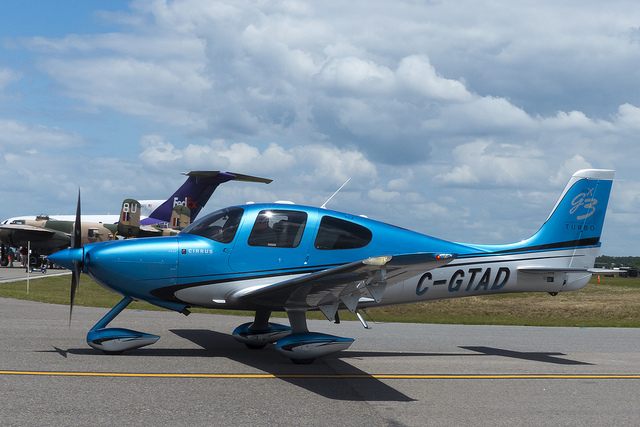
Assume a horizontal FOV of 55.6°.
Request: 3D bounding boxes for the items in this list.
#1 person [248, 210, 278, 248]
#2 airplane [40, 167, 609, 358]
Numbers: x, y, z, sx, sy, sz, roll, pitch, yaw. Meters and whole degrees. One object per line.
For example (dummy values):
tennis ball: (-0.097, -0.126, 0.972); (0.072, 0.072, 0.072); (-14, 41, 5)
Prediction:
person: (-1.127, 0.362, 12.468); (0.573, 0.733, 0.217); (6, 5, -4)
airplane: (0.658, 1.120, 12.327); (8.801, 1.721, 7.465); (1, -4, -9)
